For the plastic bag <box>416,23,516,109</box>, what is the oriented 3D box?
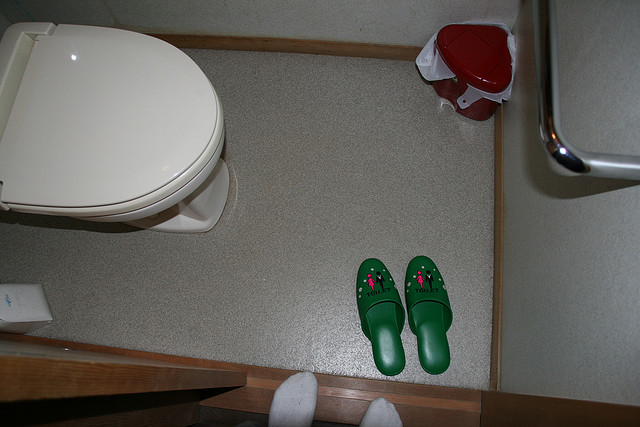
[{"bbox_3d":[0.514,-0.511,1.667,0.322,0.188,0.257,-2,81,-1],"label":"plastic bag"}]
